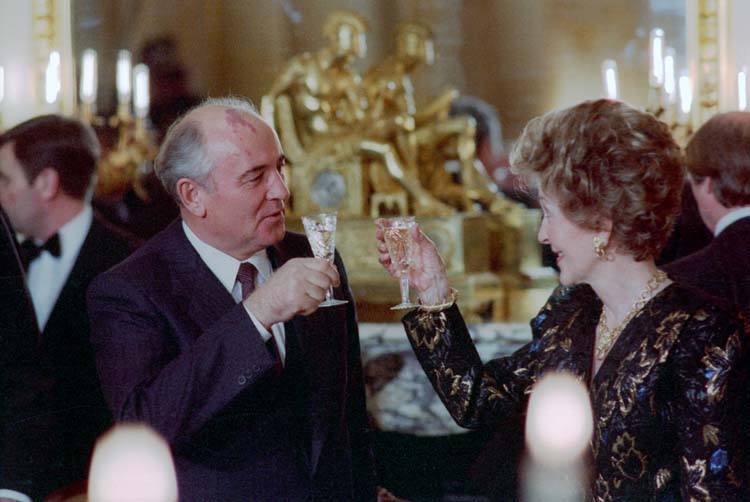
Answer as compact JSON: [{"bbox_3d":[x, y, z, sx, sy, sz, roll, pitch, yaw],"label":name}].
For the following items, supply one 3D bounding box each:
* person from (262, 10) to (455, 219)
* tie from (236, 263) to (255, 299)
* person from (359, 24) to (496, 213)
[{"bbox_3d":[-0.063,-0.757,5.143,1.157,1.078,0.589,0,19,-14],"label":"person"},{"bbox_3d":[-0.498,0.121,3.528,0.083,0.130,0.031,0,-3,-33],"label":"tie"},{"bbox_3d":[0.306,-0.735,5.221,0.822,1.062,0.634,3,9,27],"label":"person"}]
